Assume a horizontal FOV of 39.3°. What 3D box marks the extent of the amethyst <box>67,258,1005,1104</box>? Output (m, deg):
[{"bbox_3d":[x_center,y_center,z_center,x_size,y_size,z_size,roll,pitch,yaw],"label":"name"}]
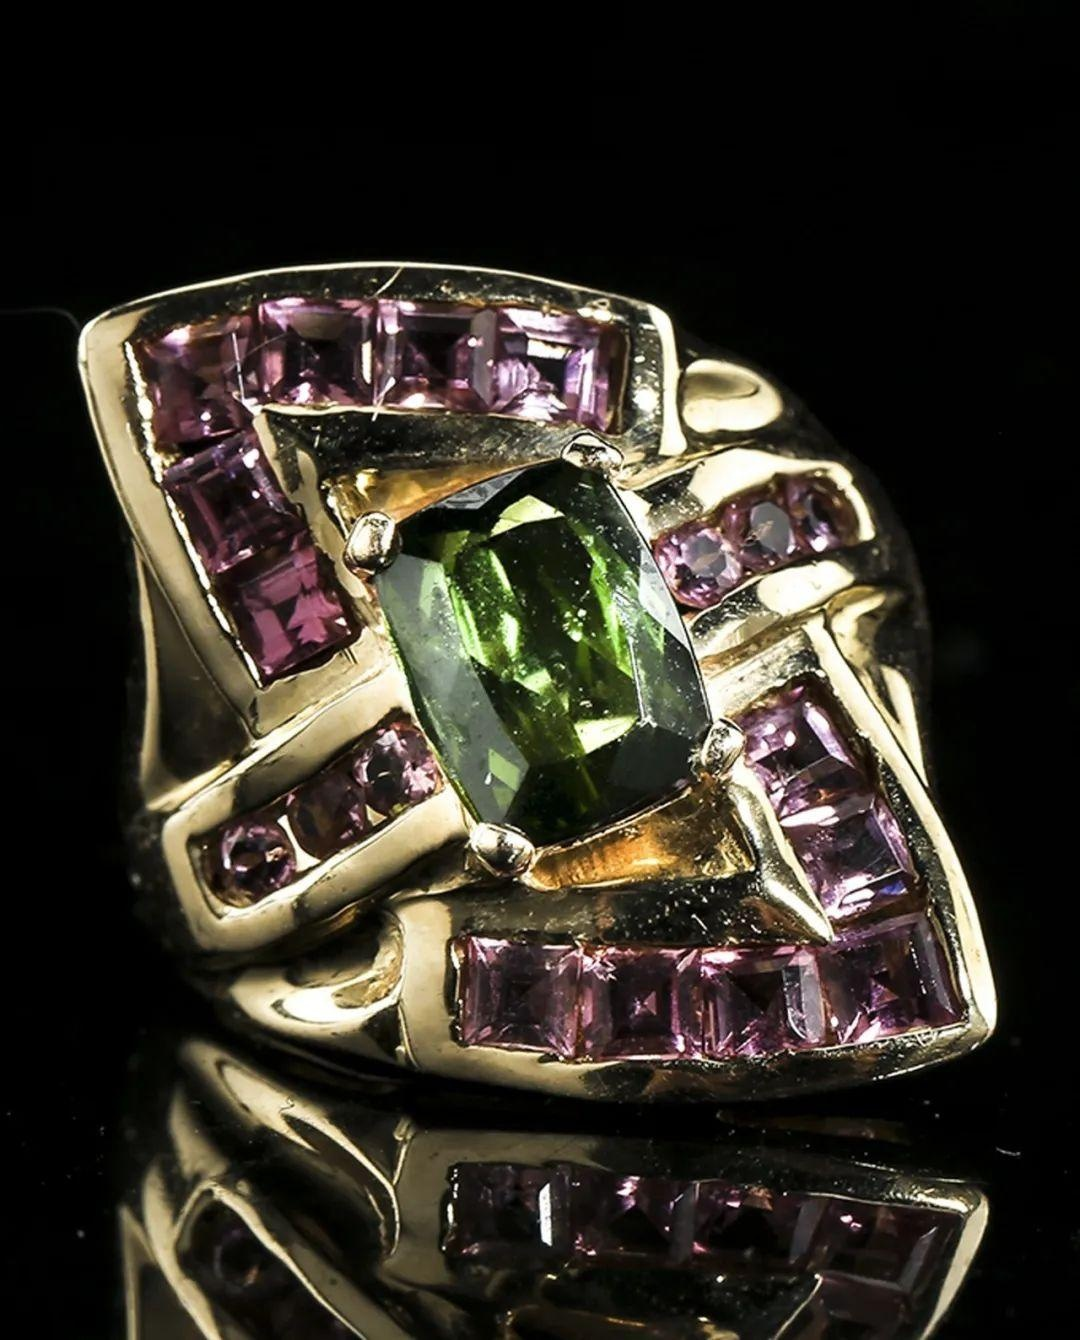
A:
[{"bbox_3d":[-0.006,-0.084,1.432,1.102,0.562,0.676,-5,22,-4],"label":"amethyst"}]
